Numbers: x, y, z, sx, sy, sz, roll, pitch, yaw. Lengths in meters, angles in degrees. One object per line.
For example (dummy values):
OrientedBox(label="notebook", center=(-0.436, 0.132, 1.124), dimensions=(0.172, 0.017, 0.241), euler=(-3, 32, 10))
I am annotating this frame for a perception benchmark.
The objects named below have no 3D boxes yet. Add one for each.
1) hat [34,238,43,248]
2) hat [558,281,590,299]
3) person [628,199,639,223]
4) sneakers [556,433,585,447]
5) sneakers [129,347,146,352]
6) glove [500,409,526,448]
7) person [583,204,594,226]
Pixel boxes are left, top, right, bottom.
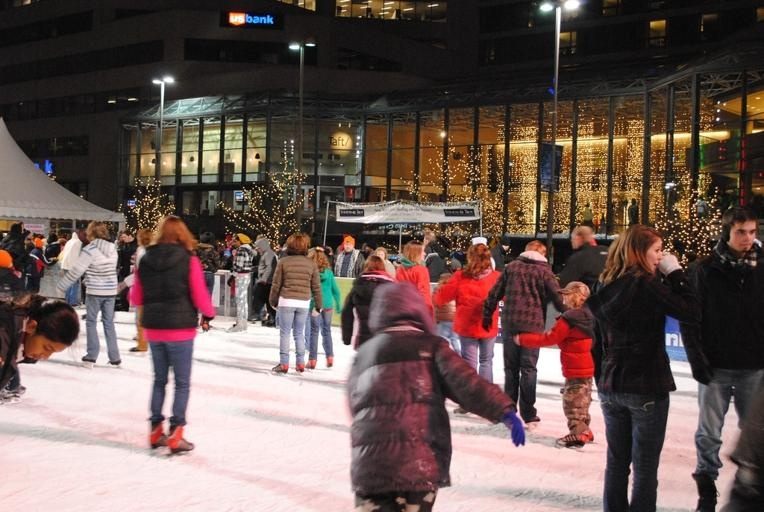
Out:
OrientedBox(label="hat", center=(-10.535, -0.399, 23.092), dimensions=(0.238, 0.270, 0.303), euler=(33, -13, -31))
OrientedBox(label="hat", center=(2.674, 0.429, 10.467), dimensions=(0.340, 0.170, 0.232), euler=(14, -8, 8))
OrientedBox(label="person", center=(10.058, -1.776, 30.120), dimensions=(0.427, 0.996, 1.475), euler=(4, 8, 16))
OrientedBox(label="sneakers", center=(2.470, 2.432, 9.906), dimensions=(0.410, 0.140, 0.172), euler=(-8, -29, 14))
OrientedBox(label="sneakers", center=(-4.786, 1.822, 14.765), dimensions=(0.254, 0.165, 0.088), euler=(6, -6, 21))
OrientedBox(label="glove", center=(1.188, 1.488, 6.528), dimensions=(0.100, 0.328, 0.249), euler=(-9, -6, -24))
OrientedBox(label="person", center=(8.736, -1.805, 31.709), dimensions=(0.324, 0.828, 0.746), euler=(0, 7, -10))
